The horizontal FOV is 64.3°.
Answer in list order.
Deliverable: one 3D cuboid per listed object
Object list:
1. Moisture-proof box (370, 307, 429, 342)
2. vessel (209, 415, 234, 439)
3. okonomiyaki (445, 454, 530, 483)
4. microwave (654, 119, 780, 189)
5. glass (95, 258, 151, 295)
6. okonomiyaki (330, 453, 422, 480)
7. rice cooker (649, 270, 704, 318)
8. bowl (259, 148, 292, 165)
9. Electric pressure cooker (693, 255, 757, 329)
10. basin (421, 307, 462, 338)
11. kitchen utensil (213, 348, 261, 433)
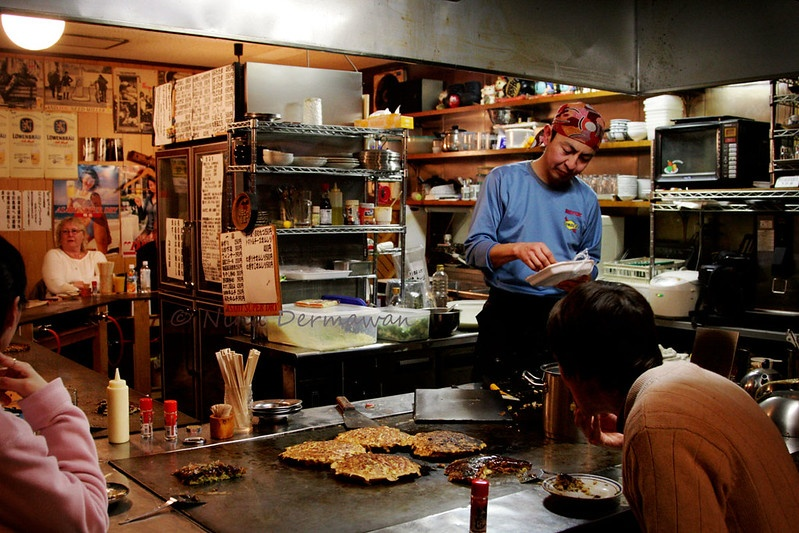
[{"bbox_3d":[-0.015,0.389,4.605,0.426,0.249,0.532,0,3,-16],"label":"Moisture-proof box"},{"bbox_3d":[-0.705,0.643,2.559,0.097,0.064,0.092,0,0,10],"label":"vessel"},{"bbox_3d":[0.309,0.711,2.323,0.287,0.043,0.332,2,1,-20],"label":"okonomiyaki"},{"bbox_3d":[2.527,-0.780,5.062,0.634,0.605,0.893,0,1,-36],"label":"microwave"},{"bbox_3d":[-3.069,0.112,7.051,0.457,0.258,0.469,2,4,41],"label":"glass"},{"bbox_3d":[-0.088,0.685,2.308,0.264,0.053,0.280,1,4,-32],"label":"okonomiyaki"},{"bbox_3d":[2.240,0.205,5.103,0.516,0.324,0.354,-8,10,-31],"label":"rice cooker"},{"bbox_3d":[-0.938,-0.838,4.908,0.233,0.121,0.171,-2,12,-9],"label":"bowl"},{"bbox_3d":[2.449,0.185,4.748,0.626,0.576,0.383,4,-3,-32],"label":"Electric pressure cooker"},{"bbox_3d":[0.296,0.390,4.481,0.220,0.107,0.214,0,3,0],"label":"basin"},{"bbox_3d":[-0.667,0.508,2.701,0.155,0.339,0.159,-11,17,-29],"label":"kitchen utensil"}]
